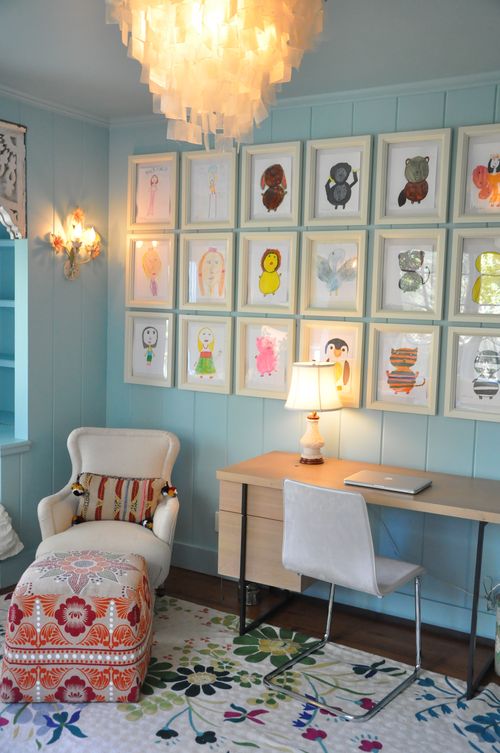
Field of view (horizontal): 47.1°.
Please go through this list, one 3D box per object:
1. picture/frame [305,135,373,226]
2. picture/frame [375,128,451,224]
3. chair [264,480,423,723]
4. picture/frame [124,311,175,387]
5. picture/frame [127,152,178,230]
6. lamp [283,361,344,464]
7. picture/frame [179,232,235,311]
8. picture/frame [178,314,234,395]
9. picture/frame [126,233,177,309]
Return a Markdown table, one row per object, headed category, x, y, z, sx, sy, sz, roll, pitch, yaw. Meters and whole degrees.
| category | x | y | z | sx | sy | sz | roll | pitch | yaw |
| --- | --- | --- | --- | --- | --- | --- | --- | --- | --- |
| picture/frame | 0.449 | -0.966 | 2.800 | 0.438 | 0.550 | 0.044 | 5 | 7 | 34 |
| picture/frame | 0.760 | -0.925 | 2.619 | 0.419 | 0.525 | 0.041 | 7 | 10 | 34 |
| chair | 0.375 | 0.774 | 2.183 | 0.562 | 0.806 | 0.560 | -1 | 7 | 12 |
| picture/frame | -0.599 | -0.178 | 3.471 | 0.429 | 0.535 | 0.043 | 2 | 3 | 32 |
| picture/frame | -0.586 | -1.087 | 3.414 | 0.023 | 0.386 | 0.337 | 9 | 18 | 28 |
| lamp | 0.312 | 0.167 | 2.808 | 0.260 | 0.469 | 0.360 | 2 | 0 | 9 |
| picture/frame | -0.230 | -0.601 | 3.223 | 0.428 | 0.534 | 0.040 | 3 | 5 | 35 |
| picture/frame | -0.240 | -0.138 | 3.264 | 0.428 | 0.518 | 0.038 | 3 | 4 | 32 |
| picture/frame | -0.581 | -0.643 | 3.430 | 0.437 | 0.528 | 0.039 | 4 | 6 | 35 |
